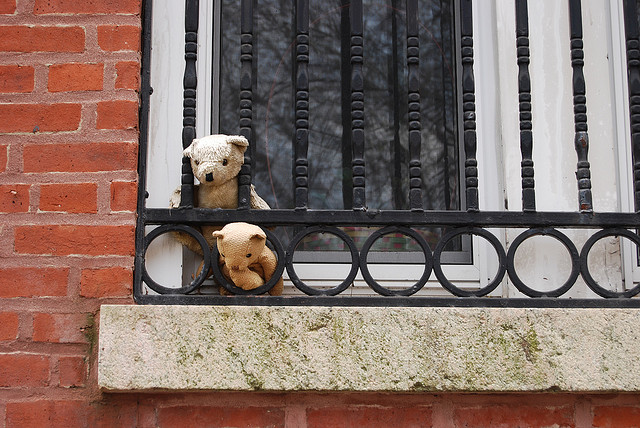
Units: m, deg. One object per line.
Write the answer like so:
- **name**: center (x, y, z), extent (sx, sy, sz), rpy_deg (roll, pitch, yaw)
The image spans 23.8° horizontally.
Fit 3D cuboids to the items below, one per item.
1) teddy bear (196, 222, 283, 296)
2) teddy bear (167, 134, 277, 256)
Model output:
- **teddy bear**: center (-0.380, 0.200, 7.089), extent (0.393, 0.380, 0.257), rpy_deg (9, 38, 16)
- **teddy bear**: center (-0.468, -0.090, 7.163), extent (0.561, 0.570, 0.332), rpy_deg (-3, 5, 10)
